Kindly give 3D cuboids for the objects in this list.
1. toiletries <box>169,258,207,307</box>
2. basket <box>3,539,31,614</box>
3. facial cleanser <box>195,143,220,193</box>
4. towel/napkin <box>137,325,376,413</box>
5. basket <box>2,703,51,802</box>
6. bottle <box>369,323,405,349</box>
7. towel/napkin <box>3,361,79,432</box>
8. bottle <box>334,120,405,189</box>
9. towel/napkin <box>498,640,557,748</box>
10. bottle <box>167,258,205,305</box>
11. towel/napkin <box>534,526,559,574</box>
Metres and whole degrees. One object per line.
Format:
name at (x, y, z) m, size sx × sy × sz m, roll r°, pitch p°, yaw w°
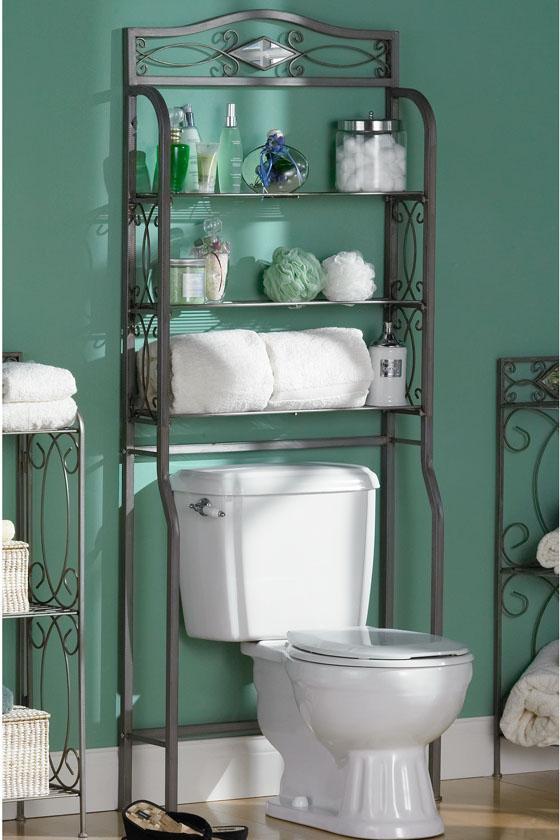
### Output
toiletries at (-0.187, -0.296, 2.036) m, size 0.100 × 0.104 × 0.097 m, roll 1°, pitch 4°, yaw -1°
basket at (-0.505, 0.302, 1.777) m, size 0.055 × 0.136 × 0.040 m, roll -4°, pitch 4°, yaw -32°
facial cleanser at (-0.159, -0.557, 2.079) m, size 0.028 × 0.106 × 0.063 m, roll 1°, pitch 4°, yaw 37°
towel/napkin at (-0.015, -0.107, 2.063) m, size 0.402 × 0.137 × 0.229 m, roll -2°, pitch 7°, yaw -30°
basket at (-0.502, 0.657, 1.845) m, size 0.086 × 0.187 × 0.154 m, roll -2°, pitch 3°, yaw -11°
bottle at (0.257, -0.194, 2.256) m, size 0.068 × 0.044 × 0.066 m, roll 2°, pitch -2°, yaw 0°
towel/napkin at (-0.474, -0.056, 1.798) m, size 0.161 × 0.106 × 0.130 m, roll -5°, pitch 9°, yaw -44°
bottle at (0.213, -0.621, 2.288) m, size 0.172 × 0.165 × 0.175 m, roll 6°, pitch 9°, yaw 40°
towel/napkin at (0.667, 0.699, 2.392) m, size 0.188 × 0.236 × 0.079 m, roll 6°, pitch 15°, yaw -31°
bottle at (-0.198, -0.301, 2.055) m, size 0.095 × 0.098 × 0.092 m, roll 1°, pitch 4°, yaw 1°
towel/napkin at (0.705, 0.344, 2.458) m, size 0.052 × 0.101 × 0.144 m, roll -1°, pitch 3°, yaw 17°
